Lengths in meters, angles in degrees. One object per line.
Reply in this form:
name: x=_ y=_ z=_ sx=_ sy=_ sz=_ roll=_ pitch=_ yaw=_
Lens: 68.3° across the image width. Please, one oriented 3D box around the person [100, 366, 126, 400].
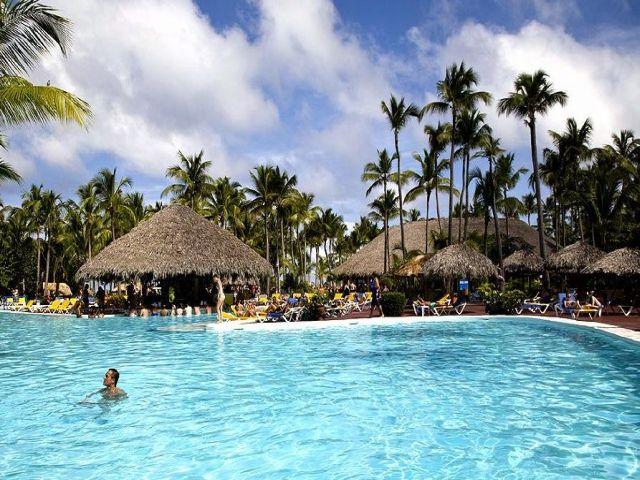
person: x=-4.363 y=2.957 z=9.774 sx=0.763 sy=0.632 sz=0.394 roll=1 pitch=-9 yaw=36
